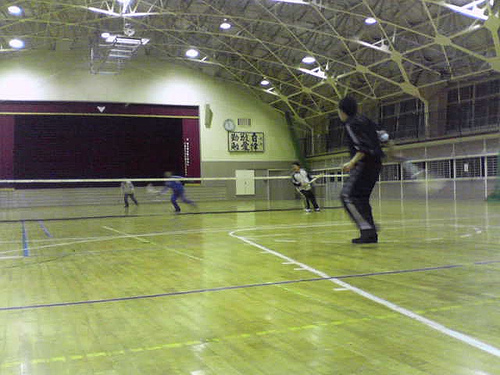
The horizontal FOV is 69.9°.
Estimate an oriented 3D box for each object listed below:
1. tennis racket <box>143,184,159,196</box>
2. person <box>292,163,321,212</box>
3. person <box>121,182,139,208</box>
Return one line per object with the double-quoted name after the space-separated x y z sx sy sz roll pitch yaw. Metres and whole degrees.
-6.008 0.142 21.638 0.467 0.501 1.135 -24 11 -20 "tennis racket"
1.989 -0.016 12.781 0.924 1.750 1.058 -1 2 6 "person"
-6.594 0.415 19.605 0.775 0.404 1.614 9 -25 -12 "person"
